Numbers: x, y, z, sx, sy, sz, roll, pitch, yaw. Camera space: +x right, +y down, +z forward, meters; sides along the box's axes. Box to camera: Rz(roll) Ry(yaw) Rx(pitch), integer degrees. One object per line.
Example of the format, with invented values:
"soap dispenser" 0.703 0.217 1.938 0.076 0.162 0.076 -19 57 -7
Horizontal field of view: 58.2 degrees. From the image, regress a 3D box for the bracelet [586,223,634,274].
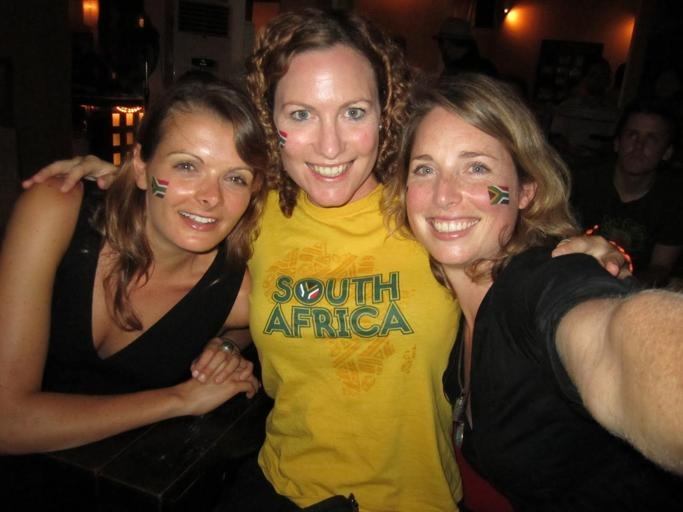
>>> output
"bracelet" 1.508 -0.060 3.449 0.303 0.109 0.314 42 35 -1
